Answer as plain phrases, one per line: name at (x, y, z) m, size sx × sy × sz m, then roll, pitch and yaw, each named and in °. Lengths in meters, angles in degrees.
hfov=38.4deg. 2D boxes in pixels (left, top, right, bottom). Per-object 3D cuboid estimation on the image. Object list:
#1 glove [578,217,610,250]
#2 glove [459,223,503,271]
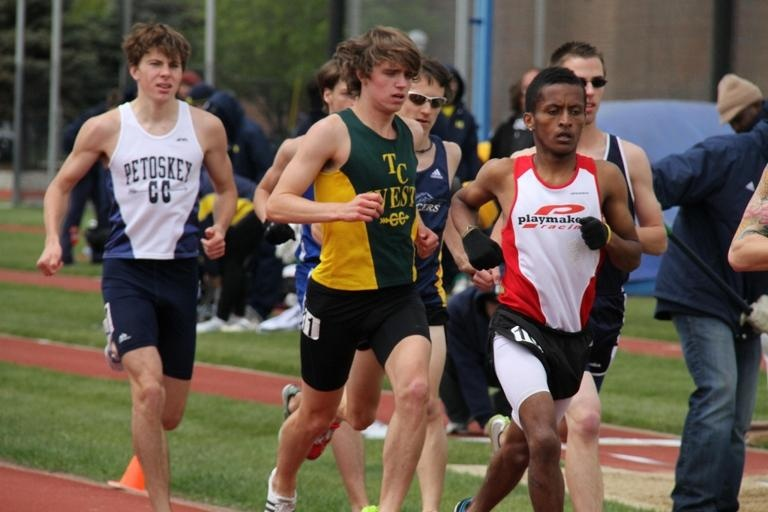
glove at (1.306, -0.159, 6.790) m, size 0.156 × 0.207 × 0.078 m, roll -41°, pitch -5°, yaw -41°
glove at (0.612, -0.055, 7.099) m, size 0.203 × 0.275 × 0.096 m, roll -33°, pitch -18°, yaw -8°
